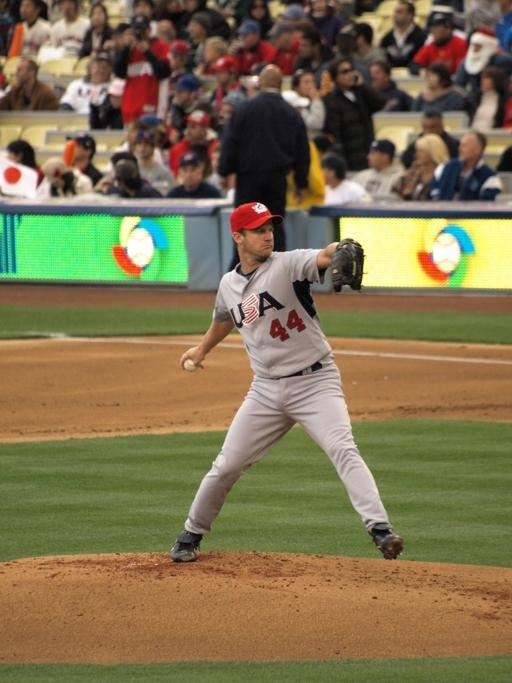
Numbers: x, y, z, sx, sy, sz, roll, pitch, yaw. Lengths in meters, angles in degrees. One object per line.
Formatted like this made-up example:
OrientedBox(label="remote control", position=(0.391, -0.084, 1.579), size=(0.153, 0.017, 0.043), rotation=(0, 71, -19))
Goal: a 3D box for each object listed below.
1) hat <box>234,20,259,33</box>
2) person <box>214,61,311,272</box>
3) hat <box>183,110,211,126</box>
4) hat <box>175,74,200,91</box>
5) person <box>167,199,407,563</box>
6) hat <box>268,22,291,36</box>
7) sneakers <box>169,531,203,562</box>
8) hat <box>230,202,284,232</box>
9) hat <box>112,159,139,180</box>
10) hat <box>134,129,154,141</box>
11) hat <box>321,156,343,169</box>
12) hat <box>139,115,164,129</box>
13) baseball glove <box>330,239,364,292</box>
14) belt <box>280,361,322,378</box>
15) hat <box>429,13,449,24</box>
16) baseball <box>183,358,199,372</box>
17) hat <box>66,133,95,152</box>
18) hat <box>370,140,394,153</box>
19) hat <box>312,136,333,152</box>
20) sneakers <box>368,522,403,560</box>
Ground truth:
OrientedBox(label="hat", position=(-0.119, -3.521, 17.400), size=(0.243, 0.171, 0.315), rotation=(1, 9, -1))
OrientedBox(label="person", position=(0.024, -1.497, 13.769), size=(0.810, 1.789, 0.571), rotation=(-3, 20, -28))
OrientedBox(label="hat", position=(-0.601, -2.209, 15.420), size=(0.210, 0.099, 0.138), rotation=(12, 13, -26))
OrientedBox(label="hat", position=(-0.747, -2.772, 16.644), size=(0.252, 0.172, 0.267), rotation=(1, 9, -3))
OrientedBox(label="person", position=(0.163, 0.233, 7.920), size=(1.216, 1.851, 0.808), rotation=(4, 10, 11))
OrientedBox(label="hat", position=(0.218, -3.400, 16.873), size=(0.181, 0.156, 0.318), rotation=(-3, 10, -24))
OrientedBox(label="sneakers", position=(-0.374, 1.052, 7.986), size=(0.093, 0.087, 0.221), rotation=(1, 13, 8))
OrientedBox(label="hat", position=(-0.024, -0.619, 7.855), size=(0.217, 0.095, 0.152), rotation=(-12, -1, 32))
OrientedBox(label="hat", position=(-1.327, -1.739, 15.670), size=(0.176, 0.216, 0.213), rotation=(2, 45, -6))
OrientedBox(label="hat", position=(-1.136, -2.073, 15.644), size=(0.160, 0.107, 0.265), rotation=(-2, 9, -18))
OrientedBox(label="hat", position=(0.687, -1.706, 14.805), size=(0.215, 0.149, 0.212), rotation=(2, 9, 1))
OrientedBox(label="hat", position=(-1.104, -2.297, 16.216), size=(0.134, 0.138, 0.388), rotation=(7, 10, 28))
OrientedBox(label="baseball glove", position=(0.451, -0.402, 7.521), size=(0.126, 0.202, 0.156), rotation=(-18, 2, 35))
OrientedBox(label="belt", position=(0.229, 0.146, 7.814), size=(0.113, 0.024, 0.101), rotation=(-20, -3, 32))
OrientedBox(label="hat", position=(1.845, -3.362, 16.154), size=(0.233, 0.120, 0.284), rotation=(-3, 10, 3))
OrientedBox(label="baseball", position=(-0.366, 0.127, 8.351), size=(0.071, 0.078, 0.067), rotation=(13, 52, 11))
OrientedBox(label="hat", position=(-1.791, -2.055, 16.151), size=(0.267, 0.143, 0.173), rotation=(28, 11, -21))
OrientedBox(label="hat", position=(1.142, -1.843, 14.698), size=(0.220, 0.144, 0.330), rotation=(2, 9, 3))
OrientedBox(label="hat", position=(0.614, -1.929, 15.133), size=(0.225, 0.167, 0.106), rotation=(-2, 11, -21))
OrientedBox(label="sneakers", position=(0.613, 0.980, 7.635), size=(0.114, 0.077, 0.230), rotation=(-5, 7, -6))
